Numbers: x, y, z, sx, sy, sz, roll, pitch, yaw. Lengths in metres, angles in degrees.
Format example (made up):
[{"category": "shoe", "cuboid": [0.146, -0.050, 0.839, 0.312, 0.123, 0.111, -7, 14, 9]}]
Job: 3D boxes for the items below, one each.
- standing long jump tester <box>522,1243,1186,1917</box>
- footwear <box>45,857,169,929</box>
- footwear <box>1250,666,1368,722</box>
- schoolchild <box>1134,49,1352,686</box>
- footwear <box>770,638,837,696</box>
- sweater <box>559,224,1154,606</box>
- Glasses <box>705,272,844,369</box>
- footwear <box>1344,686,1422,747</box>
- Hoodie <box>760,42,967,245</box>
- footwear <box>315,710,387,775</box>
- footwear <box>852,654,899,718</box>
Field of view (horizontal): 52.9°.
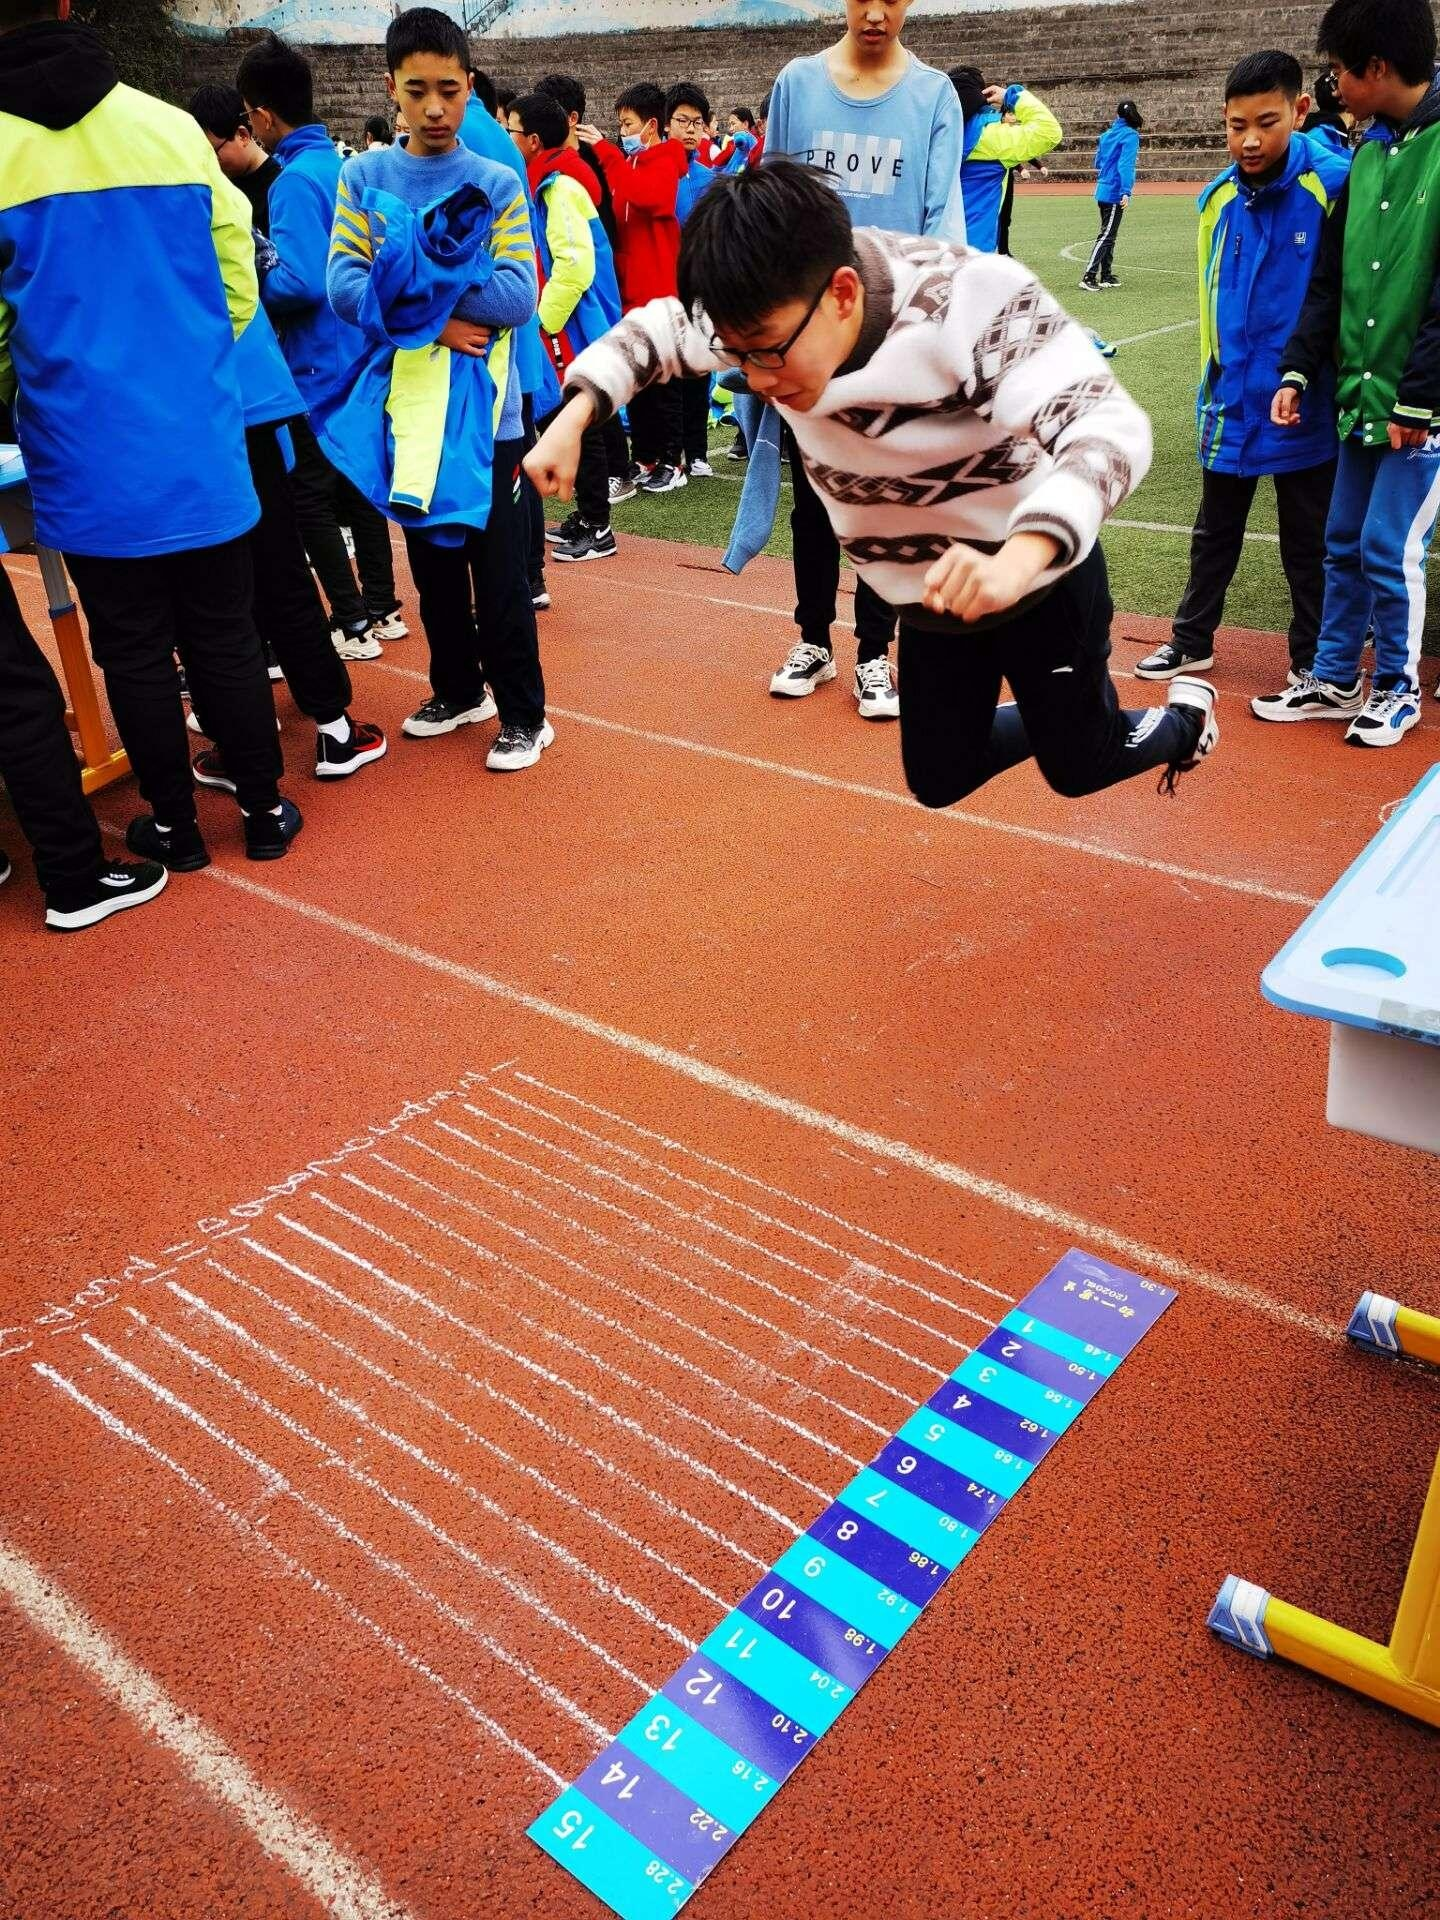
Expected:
[{"category": "standing long jump tester", "cuboid": [0.170, 0.778, 1.831, 0.192, 0.030, 0.982, 16, 32, 35]}, {"category": "footwear", "cuboid": [-1.456, -0.158, 3.559, 0.114, 0.134, 0.335, 20, 35, 29]}, {"category": "footwear", "cuboid": [1.803, -0.844, 4.528, 0.360, 0.154, 0.148, 3, 27, 8]}, {"category": "schoolchild", "cuboid": [1.680, -1.798, 4.471, 0.437, 1.743, 0.609, -26, 33, -29]}, {"category": "footwear", "cuboid": [0.295, -0.998, 4.945, 0.131, 0.138, 0.304, 14, 36, 19]}, {"category": "sweater", "cuboid": [0.241, -0.746, 2.091, 0.387, 0.559, 1.022, -20, 30, -26]}, {"category": "Glasses", "cuboid": [0.069, -0.781, 1.817, 0.110, 0.033, 0.110, -53, 39, -3]}, {"category": "footwear", "cuboid": [1.957, -0.729, 4.321, 0.110, 0.130, 0.292, 33, 60, 33]}, {"category": "Hoodie", "cuboid": [0.426, -2.298, 4.177, 0.642, 0.596, 0.218, 10, 58, 9]}, {"category": "footwear", "cuboid": [-1.122, -0.677, 4.461, 0.114, 0.143, 0.304, 9, 29, 18]}, {"category": "footwear", "cuboid": [0.479, -0.906, 4.715, 0.140, 0.148, 0.337, -6, 33, 3]}]
